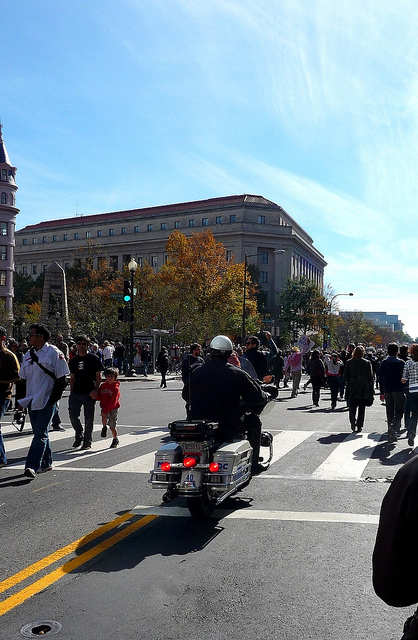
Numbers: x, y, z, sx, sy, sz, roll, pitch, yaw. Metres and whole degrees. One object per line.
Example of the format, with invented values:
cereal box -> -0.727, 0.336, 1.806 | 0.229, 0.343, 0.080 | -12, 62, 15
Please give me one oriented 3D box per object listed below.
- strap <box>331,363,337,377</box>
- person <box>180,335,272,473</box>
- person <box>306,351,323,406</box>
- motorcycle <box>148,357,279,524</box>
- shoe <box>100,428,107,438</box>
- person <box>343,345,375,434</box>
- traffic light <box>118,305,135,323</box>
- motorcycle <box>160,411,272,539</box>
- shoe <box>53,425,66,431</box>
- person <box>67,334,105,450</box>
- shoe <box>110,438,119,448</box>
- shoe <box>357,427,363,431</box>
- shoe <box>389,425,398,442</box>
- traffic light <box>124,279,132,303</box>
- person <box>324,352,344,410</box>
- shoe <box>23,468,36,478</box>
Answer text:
strap -> 3.656, 1.453, 17.447 | 0.052, 0.409, 0.053 | -27, 4, -41
person -> 0.146, 0.909, 6.125 | 0.858, 1.494, 1.071 | 4, 7, 45
person -> 3.243, 1.741, 17.676 | 0.487, 1.762, 0.596 | 3, -6, -37
motorcycle -> 0.178, 1.153, 6.139 | 0.950, 1.349, 2.307 | -3, -2, 17
shoe -> -1.731, 1.865, 9.833 | 0.066, 0.081, 0.201 | 7, 7, 3
person -> 3.016, 1.369, 12.040 | 0.597, 1.690, 1.343 | 0, -3, 13
traffic light -> -3.539, -0.225, 26.546 | 0.739, 0.922, 0.941 | -1, -2, 20
motorcycle -> 0.174, 1.260, 6.044 | 0.787, 1.218, 2.177 | -1, -2, 17
shoe -> -2.890, 2.095, 11.564 | 0.295, 0.127, 0.097 | 3, 6, -27
person -> -1.952, 1.139, 9.559 | 0.555, 1.804, 0.552 | 2, -3, -14
shoe -> -1.534, 2.007, 9.745 | 0.126, 0.173, 0.375 | -2, -9, 6
shoe -> 2.986, 2.146, 11.771 | 0.110, 0.111, 0.061 | 1, 1, 15
shoe -> 3.281, 2.028, 10.627 | 0.116, 0.254, 0.336 | 0, -3, 15
traffic light -> -3.423, -1.218, 25.341 | 0.293, 0.830, 1.222 | 1, -3, -7
person -> 3.726, 1.766, 17.751 | 0.454, 1.563, 2.451 | 0, -3, 12
shoe -> -2.105, 1.809, 7.049 | 0.129, 0.129, 0.231 | 2, -3, -16
